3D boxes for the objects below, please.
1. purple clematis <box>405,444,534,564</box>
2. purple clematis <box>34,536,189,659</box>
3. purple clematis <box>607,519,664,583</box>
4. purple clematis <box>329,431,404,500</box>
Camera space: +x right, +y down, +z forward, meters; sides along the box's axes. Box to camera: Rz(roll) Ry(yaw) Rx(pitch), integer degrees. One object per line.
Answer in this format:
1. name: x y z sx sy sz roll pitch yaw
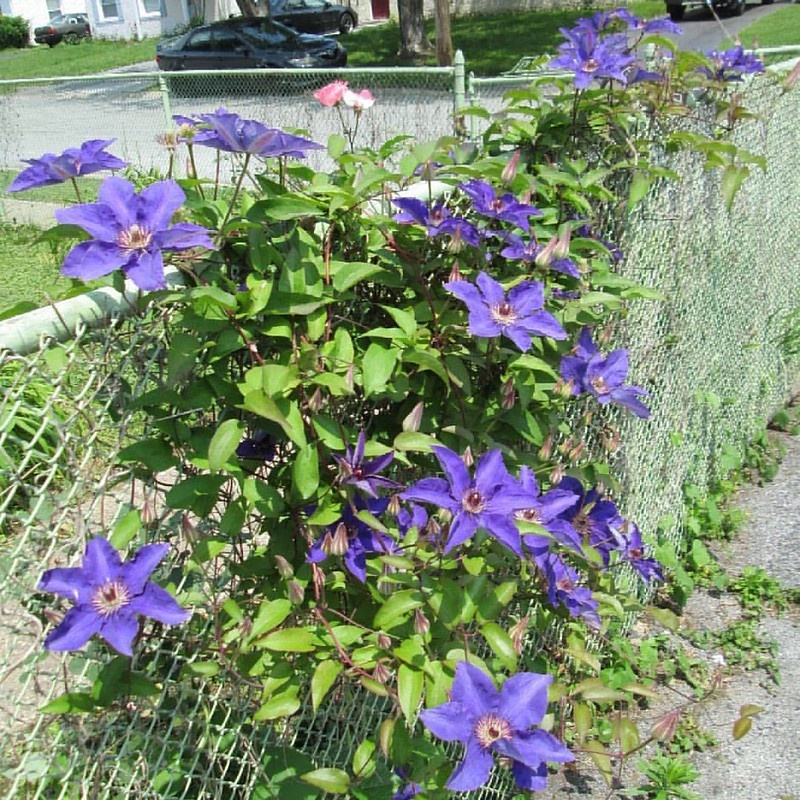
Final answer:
1. purple clematis: 0.148 0.201 1.624 0.213 0.046 0.204 -11 14 36
2. purple clematis: -0.511 0.358 1.476 0.254 0.049 0.236 -11 25 -1
3. purple clematis: 0.758 0.458 2.591 0.181 0.169 0.039 -23 65 -19
4. purple clematis: -0.090 0.133 1.708 0.163 0.062 0.137 -3 11 18
